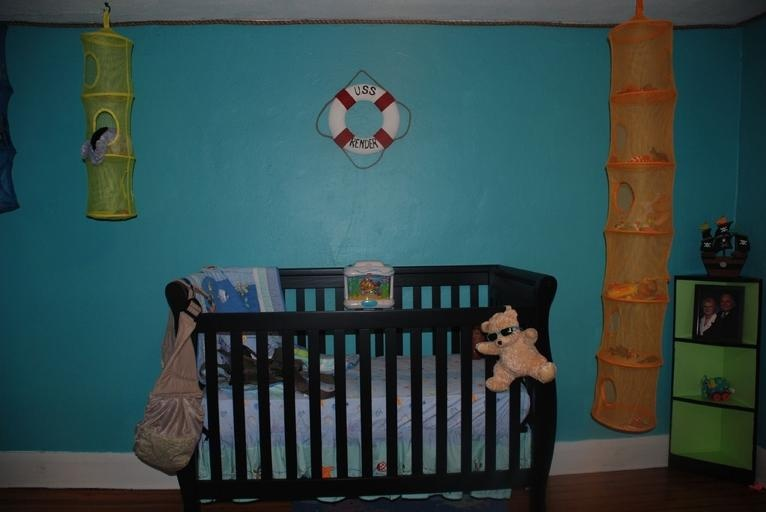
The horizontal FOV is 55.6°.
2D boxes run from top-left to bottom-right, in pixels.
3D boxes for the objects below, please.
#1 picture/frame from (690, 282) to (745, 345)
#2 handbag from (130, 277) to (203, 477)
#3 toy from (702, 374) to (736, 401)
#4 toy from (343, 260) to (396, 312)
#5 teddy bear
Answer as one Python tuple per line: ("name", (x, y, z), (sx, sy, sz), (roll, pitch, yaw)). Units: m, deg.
("picture/frame", (2.159, 0.363, 4.647), (0.372, 0.537, 0.042), (2, -1, 22))
("handbag", (-1.185, 0.674, 3.989), (0.401, 1.052, 0.224), (-5, 8, -28))
("toy", (2.168, 0.854, 4.698), (0.193, 0.135, 0.125), (2, 8, 24))
("toy", (-0.111, 0.182, 4.614), (0.323, 0.313, 0.202), (0, 0, -12))
("teddy bear", (0.732, 0.521, 4.096), (0.432, 0.442, 0.230), (-20, 1, 30))
